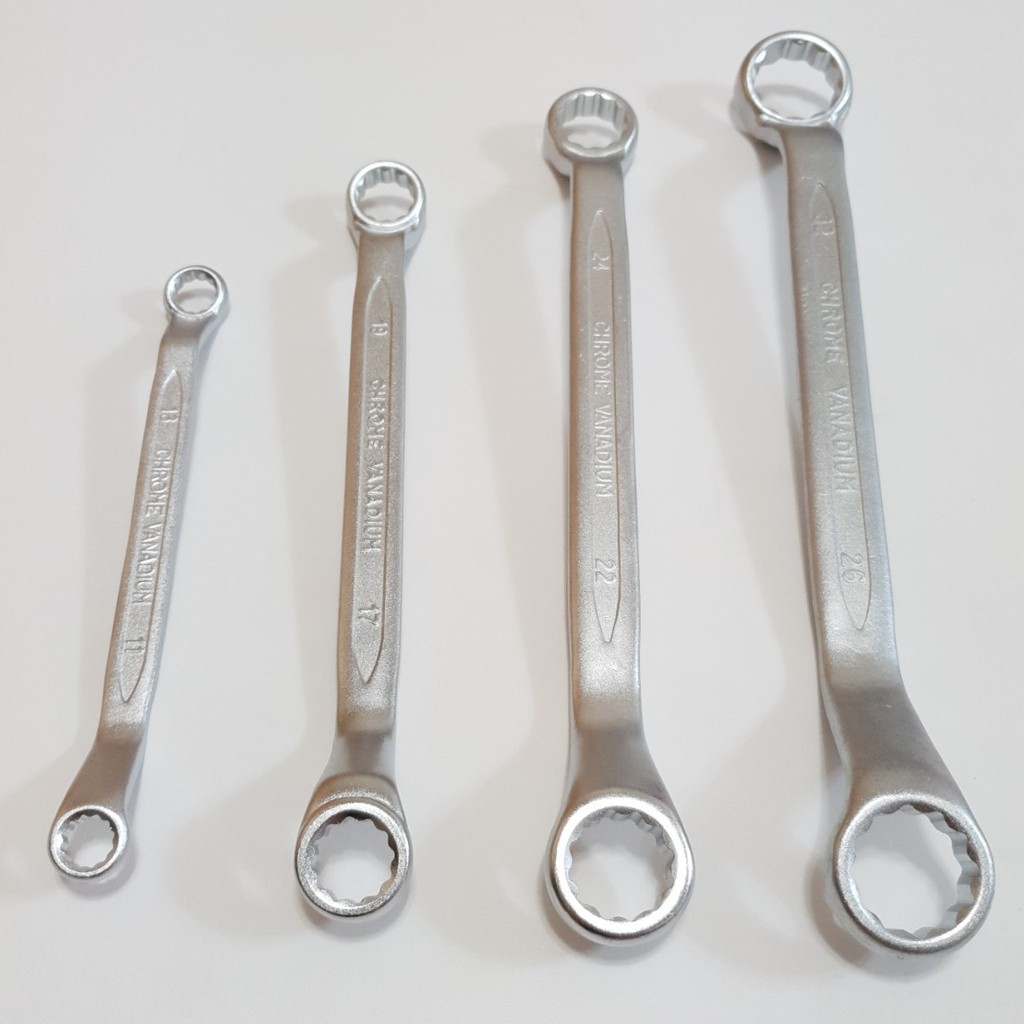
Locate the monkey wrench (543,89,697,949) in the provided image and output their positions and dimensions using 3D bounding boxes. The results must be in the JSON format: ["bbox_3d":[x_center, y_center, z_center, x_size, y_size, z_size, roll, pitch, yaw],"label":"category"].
[{"bbox_3d":[0.110,-0.043,1.445,0.108,0.905,0.082,0,-20,5],"label":"monkey wrench"}]

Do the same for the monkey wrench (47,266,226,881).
[{"bbox_3d":[-0.388,0.057,1.438,0.074,0.708,0.074,5,-22,-5],"label":"monkey wrench"}]

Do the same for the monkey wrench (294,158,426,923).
[{"bbox_3d":[-0.144,-0.004,1.431,0.089,0.852,0.058,0,-19,2],"label":"monkey wrench"}]

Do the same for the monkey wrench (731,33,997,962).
[{"bbox_3d":[0.359,-0.069,1.431,0.122,0.973,0.091,-1,-16,7],"label":"monkey wrench"}]
